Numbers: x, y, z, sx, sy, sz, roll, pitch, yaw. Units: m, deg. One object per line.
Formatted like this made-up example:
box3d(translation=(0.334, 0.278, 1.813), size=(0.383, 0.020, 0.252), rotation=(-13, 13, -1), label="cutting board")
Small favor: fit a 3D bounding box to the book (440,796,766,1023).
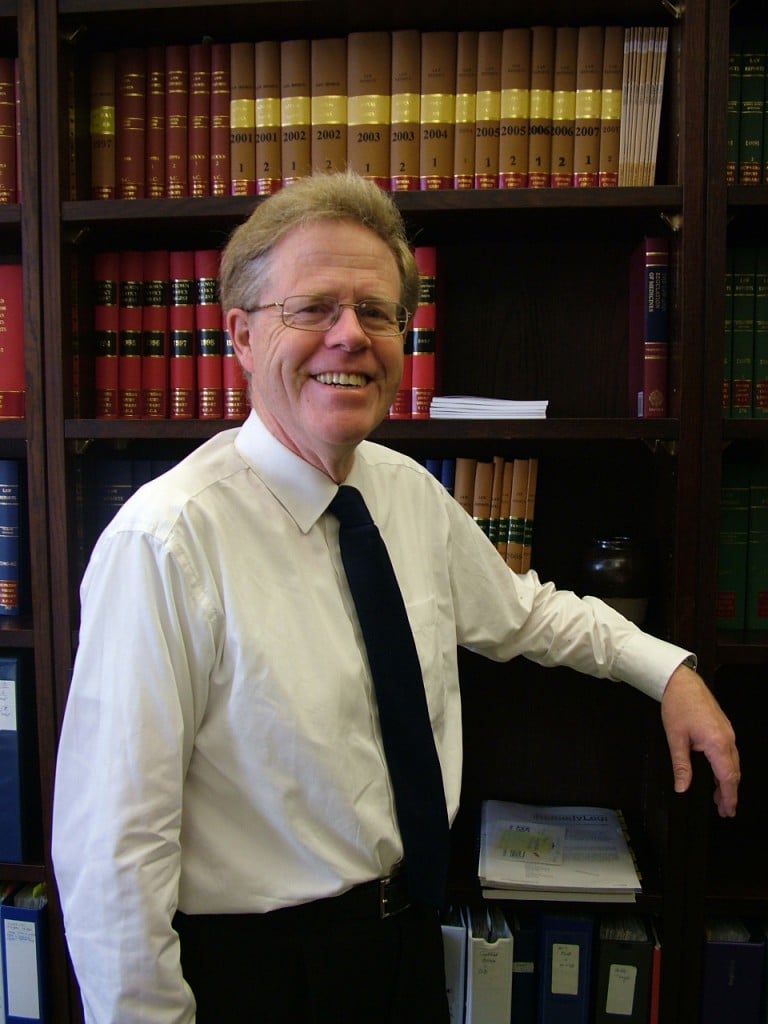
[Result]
box3d(translation=(0.398, 0.735, 1.848), size=(0.516, 0.510, 0.123), rotation=(-1, -3, 6), label="book")
